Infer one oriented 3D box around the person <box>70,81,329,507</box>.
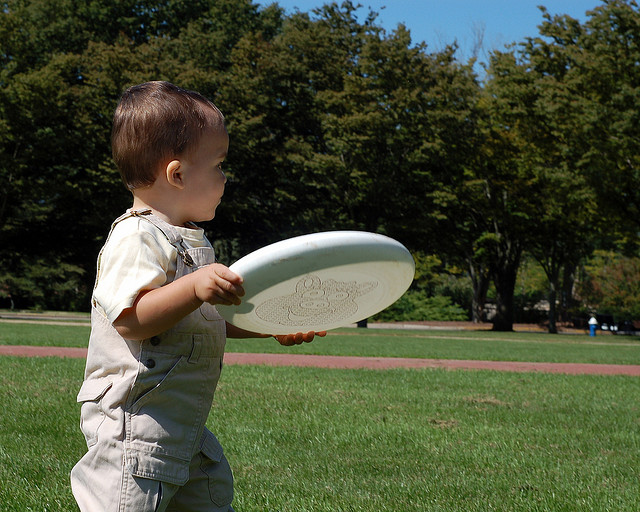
[{"bbox_3d":[-1.013,0.241,4.701,1.003,2.661,0.639,0,4,-14],"label":"person"}]
